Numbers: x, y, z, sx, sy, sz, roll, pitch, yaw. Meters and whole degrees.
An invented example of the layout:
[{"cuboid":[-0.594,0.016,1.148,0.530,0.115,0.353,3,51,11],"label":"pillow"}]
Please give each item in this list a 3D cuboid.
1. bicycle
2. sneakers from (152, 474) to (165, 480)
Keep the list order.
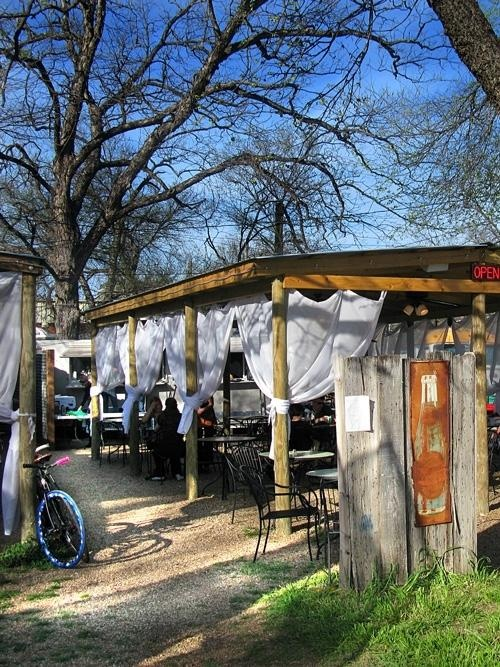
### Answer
[{"cuboid":[-1.823,1.802,6.217,0.574,0.759,1.246,-2,-8,-29],"label":"bicycle"},{"cuboid":[-1.528,2.390,10.531,0.186,0.084,0.081,3,-6,-8],"label":"sneakers"}]
